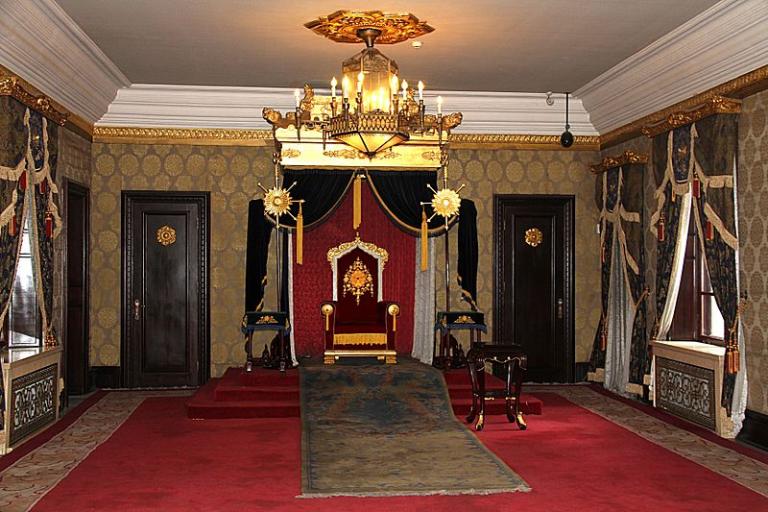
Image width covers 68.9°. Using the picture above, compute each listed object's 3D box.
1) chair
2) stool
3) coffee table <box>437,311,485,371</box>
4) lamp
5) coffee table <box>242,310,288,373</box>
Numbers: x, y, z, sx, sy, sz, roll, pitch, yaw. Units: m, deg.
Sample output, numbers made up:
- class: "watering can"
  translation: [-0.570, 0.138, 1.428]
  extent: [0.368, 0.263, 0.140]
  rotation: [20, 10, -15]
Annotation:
- class: "chair"
  translation: [-0.359, 0.600, 8.512]
  extent: [1.095, 1.911, 0.814]
  rotation: [0, 3, -7]
- class: "stool"
  translation: [1.372, 1.585, 6.897]
  extent: [0.716, 0.957, 0.616]
  rotation: [0, 3, 2]
- class: "coffee table"
  translation: [1.006, 1.234, 8.327]
  extent: [0.812, 0.911, 0.800]
  rotation: [0, -5, -6]
- class: "lamp"
  translation: [-0.124, -1.624, 5.456]
  extent: [1.171, 1.159, 1.231]
  rotation: [-7, 9, -43]
- class: "coffee table"
  translation: [-1.652, 1.180, 7.953]
  extent: [0.601, 0.840, 0.555]
  rotation: [0, 3, -7]
